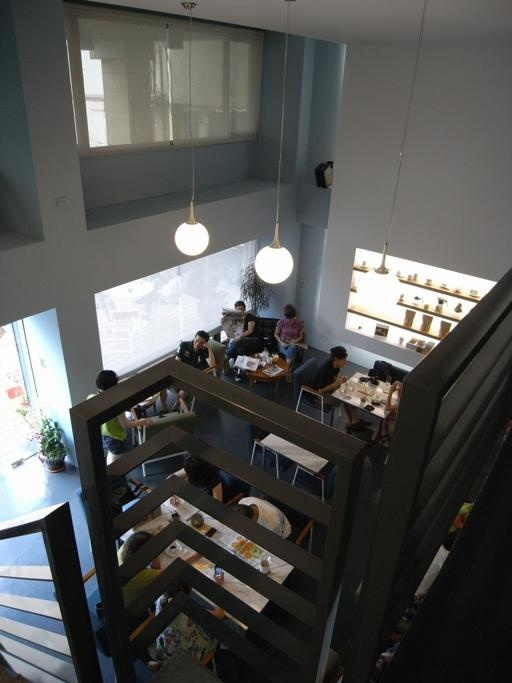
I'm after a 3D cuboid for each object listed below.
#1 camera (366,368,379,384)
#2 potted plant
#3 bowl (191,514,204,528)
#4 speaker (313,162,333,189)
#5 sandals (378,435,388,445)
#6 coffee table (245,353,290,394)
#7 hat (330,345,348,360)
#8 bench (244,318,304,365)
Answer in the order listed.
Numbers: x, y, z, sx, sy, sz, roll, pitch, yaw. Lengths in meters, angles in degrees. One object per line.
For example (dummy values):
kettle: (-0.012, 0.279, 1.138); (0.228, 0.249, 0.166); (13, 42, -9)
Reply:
camera: (1.588, 0.473, 6.595); (0.112, 0.204, 0.200); (1, 13, 5)
potted plant: (-2.513, 1.201, 5.927); (0.519, 0.666, 0.294); (22, 29, 39)
bowl: (-0.495, 1.518, 4.125); (0.099, 0.077, 0.099); (0, 25, 0)
speaker: (1.136, -2.804, 8.213); (0.276, 0.430, 0.578); (4, 24, 5)
sandals: (1.655, 1.286, 6.331); (0.114, 0.133, 0.028); (4, -1, 31)
coffee table: (0.182, 0.648, 7.330); (0.536, 0.489, 0.635); (7, 33, 13)
hat: (1.109, 0.159, 6.499); (0.173, 0.161, 0.189); (19, 1, 15)
bench: (0.384, -0.095, 8.204); (0.603, 0.614, 0.861); (4, 20, 11)
